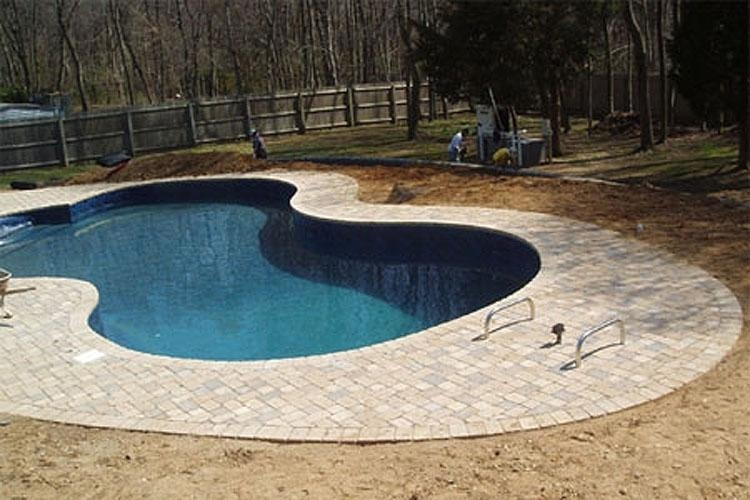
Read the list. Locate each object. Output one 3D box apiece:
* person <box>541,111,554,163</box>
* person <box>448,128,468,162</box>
[{"bbox_3d":[6.255,-4.021,24.274,0.379,1.553,0.359,-9,7,-43],"label":"person"},{"bbox_3d":[3.278,-4.136,26.030,0.662,1.170,1.868,-1,13,8],"label":"person"}]
